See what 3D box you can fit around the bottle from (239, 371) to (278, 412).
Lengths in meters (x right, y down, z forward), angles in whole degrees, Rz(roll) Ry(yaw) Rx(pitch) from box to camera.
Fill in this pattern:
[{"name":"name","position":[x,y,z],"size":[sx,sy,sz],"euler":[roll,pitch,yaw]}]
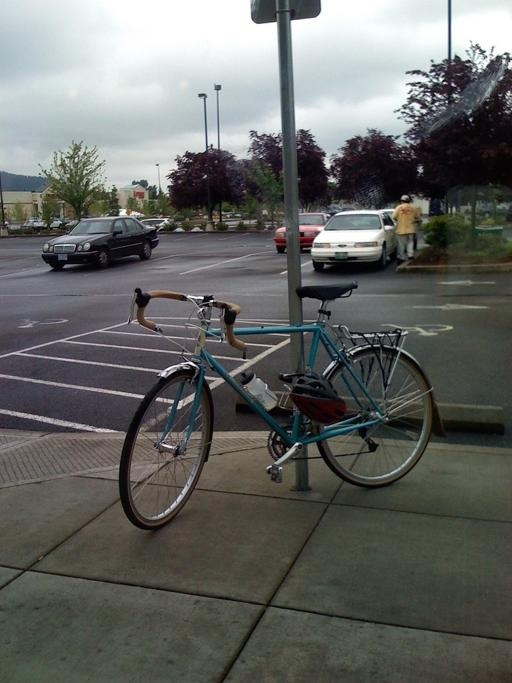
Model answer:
[{"name":"bottle","position":[0.020,0.273,2.921],"size":[0.206,0.219,0.119],"euler":[-4,5,-35]}]

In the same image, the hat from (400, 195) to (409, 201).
[{"name":"hat","position":[4.696,-4.484,17.350],"size":[0.248,0.119,0.336],"euler":[5,13,23]}]

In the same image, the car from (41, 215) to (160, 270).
[{"name":"car","position":[-6.587,-4.239,23.724],"size":[2.109,2.480,4.489],"euler":[1,4,28]}]
